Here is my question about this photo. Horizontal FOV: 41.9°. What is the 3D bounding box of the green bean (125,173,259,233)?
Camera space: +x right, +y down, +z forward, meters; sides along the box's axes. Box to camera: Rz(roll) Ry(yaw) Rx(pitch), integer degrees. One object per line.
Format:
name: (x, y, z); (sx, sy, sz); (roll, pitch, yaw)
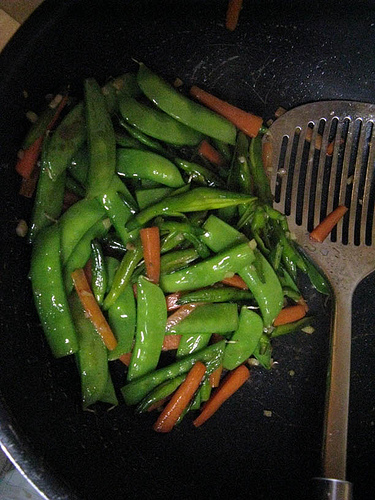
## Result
green bean: (0.006, -0.102, 1.219); (0.336, 0.045, 0.085); (-3, -22, 15)

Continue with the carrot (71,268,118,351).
carrot: (-0.197, 0.139, 1.225); (0.123, 0.176, 0.107); (-23, 37, -32)

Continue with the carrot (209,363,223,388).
carrot: (0.074, 0.336, 1.323); (0.043, 0.066, 0.023); (10, 18, -22)

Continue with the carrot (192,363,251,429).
carrot: (0.079, 0.380, 1.418); (0.175, 0.185, 0.129); (-13, 27, -20)

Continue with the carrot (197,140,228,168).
carrot: (0.068, -0.258, 1.326); (0.123, 0.033, 0.033); (33, -16, -27)

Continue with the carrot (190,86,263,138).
carrot: (0.101, -0.384, 1.359); (0.227, 0.059, 0.066); (33, 44, 7)

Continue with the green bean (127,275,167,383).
green bean: (-0.098, 0.206, 1.214); (0.079, 0.276, 0.161); (9, -7, 2)

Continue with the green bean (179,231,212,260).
green bean: (0.022, -0.012, 1.228); (0.095, 0.019, 0.024); (41, 1, -33)

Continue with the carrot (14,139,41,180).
carrot: (-0.395, -0.223, 1.231); (0.053, 0.038, 0.175); (10, -19, -17)

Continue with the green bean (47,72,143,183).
green bean: (-0.252, -0.339, 1.279); (0.118, 0.380, 0.060); (40, -9, -19)

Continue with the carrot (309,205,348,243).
carrot: (0.394, -0.074, 1.379); (0.052, 0.145, 0.038); (42, -7, -2)

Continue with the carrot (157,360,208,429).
carrot: (-0.003, 0.406, 1.290); (0.077, 0.064, 0.285); (24, 30, 6)

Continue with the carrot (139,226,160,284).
carrot: (-0.091, 0.012, 1.198); (0.047, 0.137, 0.041); (-3, 6, -2)

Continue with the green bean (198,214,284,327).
green bean: (0.154, 0.048, 1.272); (0.165, 0.305, 0.060); (-35, 21, 18)

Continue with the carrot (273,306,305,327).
carrot: (0.287, 0.189, 1.389); (0.103, 0.045, 0.086); (-14, -6, -1)

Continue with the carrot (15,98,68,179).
carrot: (-0.371, -0.274, 1.241); (0.061, 0.252, 0.038); (35, 10, -22)

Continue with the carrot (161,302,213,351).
carrot: (-0.011, 0.190, 1.270); (0.159, 0.177, 0.043); (-14, 28, -15)
